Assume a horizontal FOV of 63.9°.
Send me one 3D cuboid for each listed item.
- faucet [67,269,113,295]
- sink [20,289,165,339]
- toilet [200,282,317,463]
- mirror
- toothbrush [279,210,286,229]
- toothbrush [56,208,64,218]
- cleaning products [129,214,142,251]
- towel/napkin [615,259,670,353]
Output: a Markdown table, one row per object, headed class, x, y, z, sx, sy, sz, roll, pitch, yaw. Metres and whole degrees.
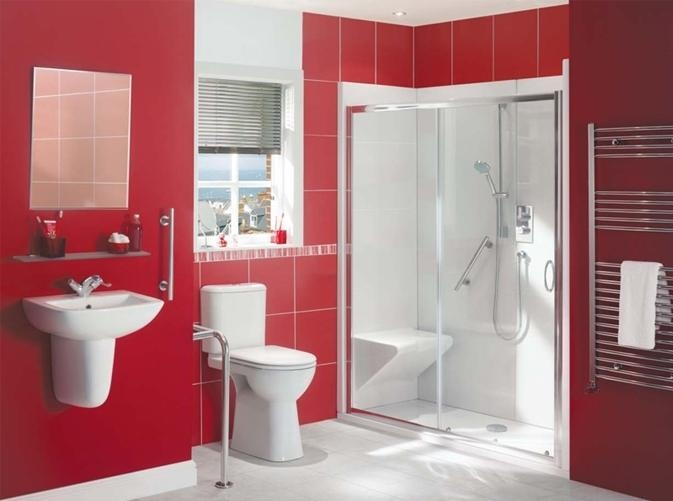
| class | x | y | z | sx | sy | sz | roll | pitch | yaw |
| --- | --- | --- | --- | --- | --- | --- | --- | --- | --- |
| faucet | -1.290 | 0.166 | 2.810 | 0.228 | 0.133 | 0.082 | 8 | 1 | -6 |
| sink | -1.214 | 0.329 | 2.701 | 0.496 | 0.195 | 0.514 | 7 | 11 | 44 |
| toilet | -0.532 | 0.815 | 3.630 | 0.418 | 1.109 | 0.812 | -7 | 9 | -44 |
| mirror | -1.327 | -0.572 | 2.809 | 0.514 | 0.707 | 0.036 | -5 | 8 | -31 |
| toothbrush | -0.423 | -0.228 | 4.141 | 0.052 | 0.126 | 0.024 | 4 | 8 | 31 |
| toothbrush | -1.420 | -0.186 | 2.773 | 0.008 | 0.051 | 0.033 | 4 | 8 | 33 |
| cleaning products | -1.105 | -0.100 | 2.951 | 0.069 | 0.197 | 0.067 | -3 | 7 | -22 |
| towel/napkin | 1.641 | 0.291 | 2.859 | 0.249 | 0.448 | 0.094 | 4 | 8 | 30 |
